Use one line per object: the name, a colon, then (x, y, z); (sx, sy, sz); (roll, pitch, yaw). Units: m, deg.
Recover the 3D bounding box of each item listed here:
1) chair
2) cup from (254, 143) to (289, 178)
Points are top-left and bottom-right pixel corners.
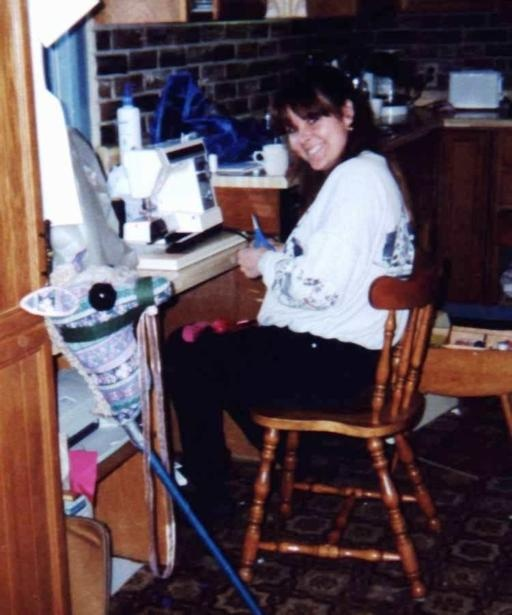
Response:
chair: (0.223, 0.294, 1.623); (0.531, 0.859, 0.446); (2, 20, 15)
cup: (0.060, -0.490, 2.044); (0.160, 0.097, 0.091); (-8, 25, -15)
